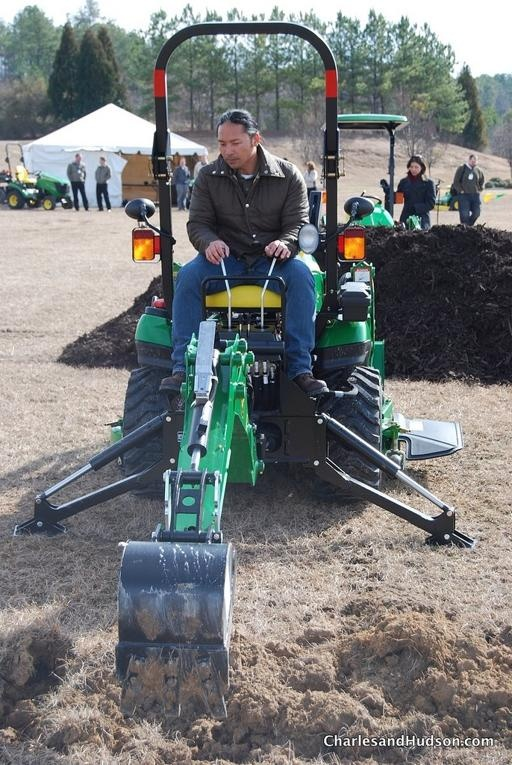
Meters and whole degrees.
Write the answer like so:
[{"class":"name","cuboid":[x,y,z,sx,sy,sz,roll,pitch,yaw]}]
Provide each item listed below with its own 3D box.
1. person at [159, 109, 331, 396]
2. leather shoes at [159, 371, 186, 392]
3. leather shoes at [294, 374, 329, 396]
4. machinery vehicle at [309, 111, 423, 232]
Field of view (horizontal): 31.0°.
[{"class":"person","cuboid":[-0.038,-0.624,4.492,1.030,1.589,1.120,1,7,2]},{"class":"leather shoes","cuboid":[-0.366,-0.004,4.035,0.062,0.071,0.147,-2,-6,6]},{"class":"leather shoes","cuboid":[0.221,0.022,4.048,0.176,0.082,0.069,13,56,36]},{"class":"machinery vehicle","cuboid":[1.115,-2.290,9.605,0.841,1.002,0.842,10,21,21]}]
